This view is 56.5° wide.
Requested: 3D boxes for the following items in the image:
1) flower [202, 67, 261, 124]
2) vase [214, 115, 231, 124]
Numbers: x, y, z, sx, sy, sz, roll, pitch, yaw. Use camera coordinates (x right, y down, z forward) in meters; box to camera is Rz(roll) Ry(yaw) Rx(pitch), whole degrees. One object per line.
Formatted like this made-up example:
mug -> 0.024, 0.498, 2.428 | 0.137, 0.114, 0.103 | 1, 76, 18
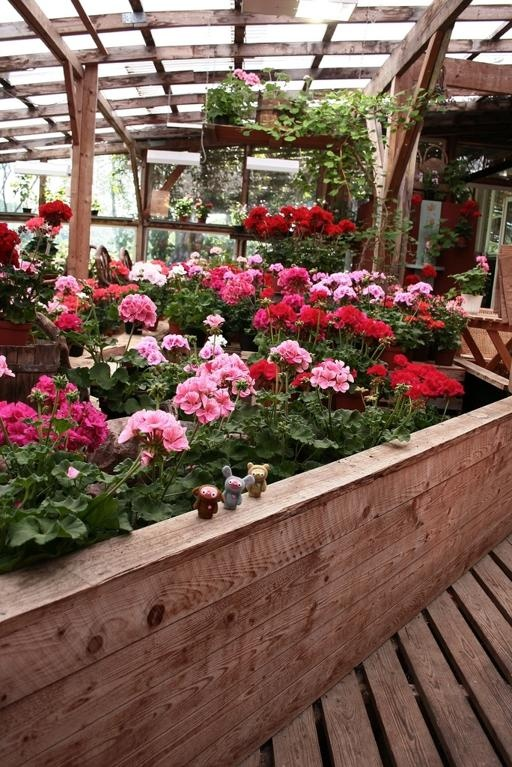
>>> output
flower -> -0.287, -3.368, 5.607 | 0.619, 0.664, 0.544 | 0, 15, -8
vase -> -0.388, -3.191, 5.732 | 0.130, 0.092, 0.127 | -2, 36, -7
